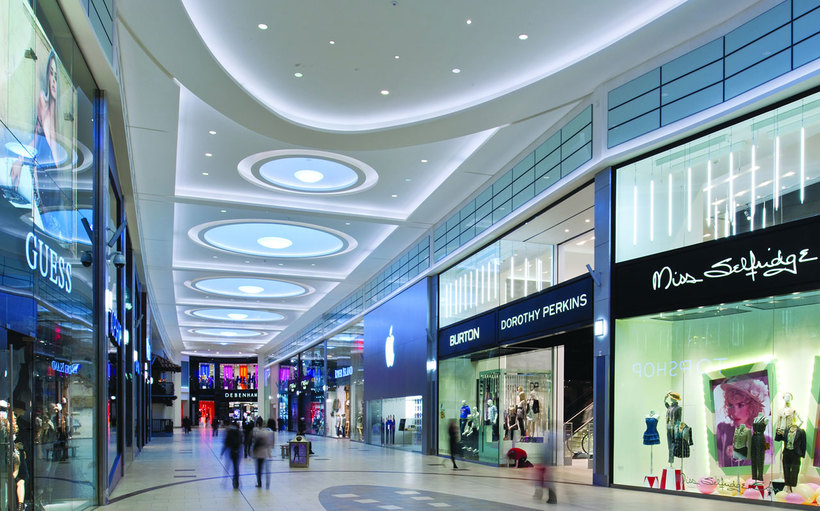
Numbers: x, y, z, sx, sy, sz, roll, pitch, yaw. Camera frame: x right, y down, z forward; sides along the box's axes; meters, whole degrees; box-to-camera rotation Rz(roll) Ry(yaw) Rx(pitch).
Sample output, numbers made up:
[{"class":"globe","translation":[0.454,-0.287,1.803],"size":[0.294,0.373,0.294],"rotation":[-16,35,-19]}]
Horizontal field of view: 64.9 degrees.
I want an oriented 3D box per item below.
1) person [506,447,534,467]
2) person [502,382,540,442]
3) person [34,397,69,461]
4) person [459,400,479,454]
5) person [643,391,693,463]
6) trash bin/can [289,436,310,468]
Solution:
[{"class":"person","translation":[3.611,6.708,21.413],"size":[0.738,0.543,0.548],"rotation":[1,-7,16]},{"class":"person","translation":[3.973,5.560,22.762],"size":[1.337,2.008,0.488],"rotation":[-3,-13,6]},{"class":"person","translation":[-6.146,3.071,11.036],"size":[0.285,1.022,0.613],"rotation":[-10,-8,6]},{"class":"person","translation":[2.176,6.419,24.067],"size":[0.359,1.926,1.246],"rotation":[3,-14,-19]},{"class":"person","translation":[6.518,4.378,16.208],"size":[0.809,1.802,1.294],"rotation":[18,-21,-24]},{"class":"trash bin/can","translation":[-3.737,6.624,21.864],"size":[0.873,1.102,0.936],"rotation":[1,-3,-8]}]
